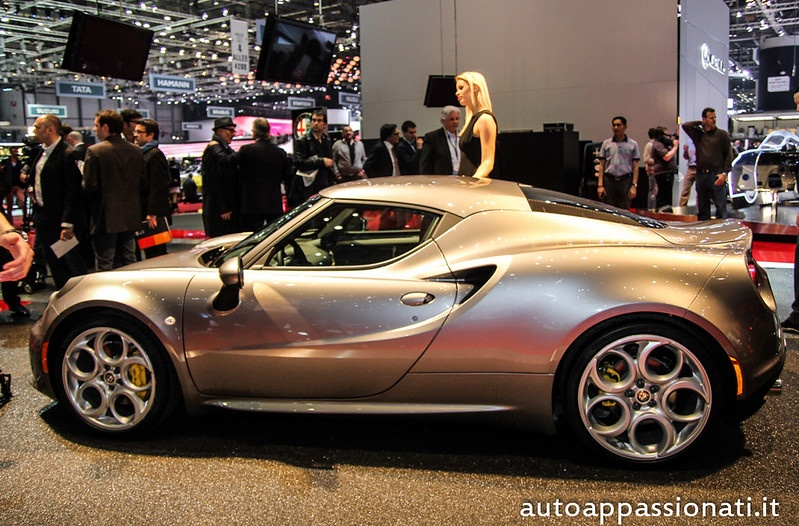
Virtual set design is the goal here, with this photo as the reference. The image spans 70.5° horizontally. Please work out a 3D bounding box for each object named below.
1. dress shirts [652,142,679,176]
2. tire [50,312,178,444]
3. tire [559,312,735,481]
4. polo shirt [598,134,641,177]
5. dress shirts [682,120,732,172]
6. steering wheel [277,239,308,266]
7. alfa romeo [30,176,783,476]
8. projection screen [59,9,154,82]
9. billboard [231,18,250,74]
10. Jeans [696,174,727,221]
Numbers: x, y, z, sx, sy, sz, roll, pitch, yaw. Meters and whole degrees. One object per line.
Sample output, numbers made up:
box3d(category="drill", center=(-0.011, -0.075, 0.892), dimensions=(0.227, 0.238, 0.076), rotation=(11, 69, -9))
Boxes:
box3d(category="dress shirts", center=(6.038, -2.457, 12.846), dimensions=(0.555, 0.847, 0.761), rotation=(1, 10, 40))
box3d(category="tire", center=(-1.978, 0.771, 3.954), dimensions=(0.660, 0.699, 0.241), rotation=(-25, -7, 8))
box3d(category="tire", center=(1.545, 0.806, 3.535), dimensions=(0.815, 0.882, 0.370), rotation=(-12, 1, 9))
box3d(category="polo shirt", center=(4.089, -2.049, 10.536), dimensions=(0.717, 0.721, 0.415), rotation=(6, 17, 27))
box3d(category="dress shirts", center=(5.517, -2.117, 10.159), dimensions=(0.843, 1.000, 0.506), rotation=(9, 14, 36))
box3d(category="steering wheel", center=(-0.765, -0.070, 4.054), dimensions=(0.206, 0.202, 0.145), rotation=(-3, 0, -40))
box3d(category="alfa romeo", center=(0.100, 0.312, 4.220), dimensions=(3.988, 1.329, 2.295), rotation=(3, 6, 6))
box3d(category="projection screen", center=(-5.179, -3.923, 10.385), dimensions=(1.567, 1.024, 0.305), rotation=(15, -5, 10))
box3d(category="billboard", center=(-4.421, -6.008, 15.599), dimensions=(0.129, 1.393, 0.604), rotation=(13, 18, 40))
box3d(category="Jeans", center=(5.639, -1.167, 10.265), dimensions=(0.381, 1.195, 0.502), rotation=(-28, 26, -38))
